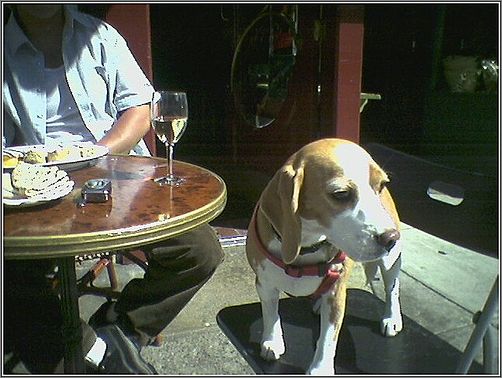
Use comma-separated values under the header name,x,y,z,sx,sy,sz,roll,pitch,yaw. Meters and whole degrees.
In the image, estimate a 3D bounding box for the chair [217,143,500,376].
name,x,y,z,sx,sy,sz,roll,pitch,yaw
chair,0.323,0.355,2.297,0.865,0.953,1.335,-1,1,-3

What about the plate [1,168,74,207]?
name,x,y,z,sx,sy,sz,roll,pitch,yaw
plate,-0.890,-0.010,1.715,0.267,0.138,0.222,-8,21,-25

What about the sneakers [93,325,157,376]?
name,x,y,z,sx,sy,sz,roll,pitch,yaw
sneakers,-0.693,0.864,2.196,0.315,0.133,0.109,42,52,6

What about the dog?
name,x,y,z,sx,sy,sz,roll,pitch,yaw
dog,0.394,0.313,1.977,0.836,1.105,0.640,1,18,-1

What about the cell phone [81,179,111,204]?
name,x,y,z,sx,sy,sz,roll,pitch,yaw
cell phone,-0.676,0.009,1.787,0.130,0.071,0.134,-7,20,-23
